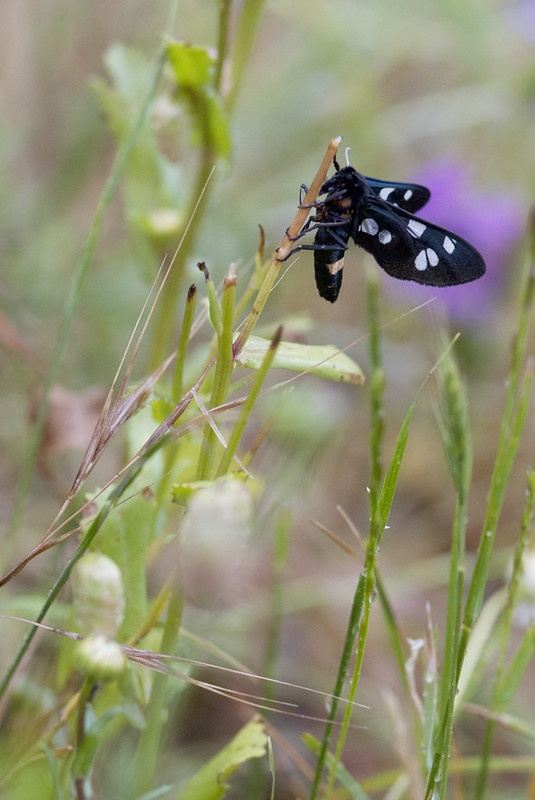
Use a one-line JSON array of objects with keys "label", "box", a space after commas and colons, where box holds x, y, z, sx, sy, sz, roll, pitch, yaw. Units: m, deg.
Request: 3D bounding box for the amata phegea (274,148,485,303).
[{"label": "amata phegea", "box": [0.090, -0.151, 0.738, 0.143, 0.197, 0.127, 16, -74, -30]}]
